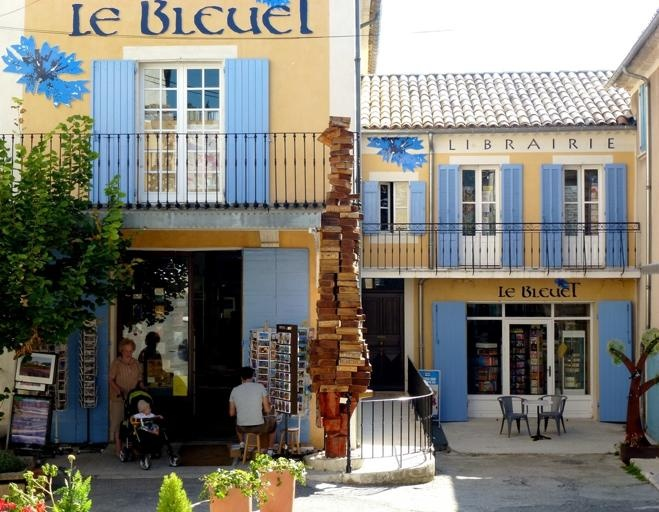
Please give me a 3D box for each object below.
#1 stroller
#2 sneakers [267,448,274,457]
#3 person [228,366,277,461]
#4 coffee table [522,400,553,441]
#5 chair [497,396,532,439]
[{"bbox_3d":[-3.065,2.895,16.318,1.064,1.171,0.736,1,-1,42],"label":"stroller"},{"bbox_3d":[-1.007,3.353,16.402,0.112,0.105,0.193,6,-6,-14],"label":"sneakers"},{"bbox_3d":[-1.320,2.646,16.464,0.784,1.487,0.490,0,-6,-8],"label":"person"},{"bbox_3d":[4.428,3.480,20.304,0.761,0.796,0.722,-2,-3,10],"label":"coffee table"},{"bbox_3d":[3.905,3.389,20.428,0.618,0.808,0.624,-1,-5,0],"label":"chair"}]
